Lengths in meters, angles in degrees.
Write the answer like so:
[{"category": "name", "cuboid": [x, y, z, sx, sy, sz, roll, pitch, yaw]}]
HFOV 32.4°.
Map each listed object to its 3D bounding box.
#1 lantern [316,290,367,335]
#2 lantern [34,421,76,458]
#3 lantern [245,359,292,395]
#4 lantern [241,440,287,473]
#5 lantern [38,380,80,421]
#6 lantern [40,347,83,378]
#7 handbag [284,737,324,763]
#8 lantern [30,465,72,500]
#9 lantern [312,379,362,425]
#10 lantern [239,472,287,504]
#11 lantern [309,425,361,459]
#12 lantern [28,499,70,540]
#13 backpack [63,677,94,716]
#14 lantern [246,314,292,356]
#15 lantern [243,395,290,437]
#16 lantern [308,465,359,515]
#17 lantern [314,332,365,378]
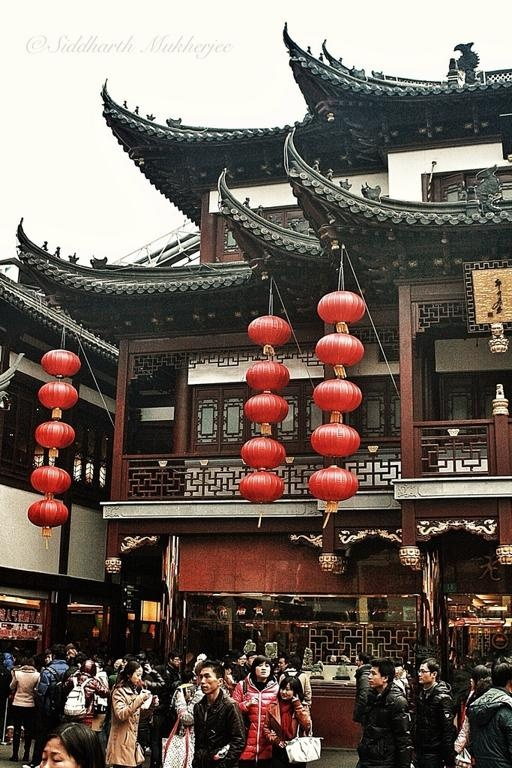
[{"category": "lantern", "cuboid": [1.007, -0.846, 10.378, 0.504, 0.471, 0.466, -12, -18, 32]}, {"category": "lantern", "cuboid": [-2.714, 0.682, 11.960, 0.473, 0.469, 0.479, -19, -26, 34]}, {"category": "lantern", "cuboid": [0.142, -0.125, 10.872, 0.452, 0.326, 0.418, -13, -22, 32]}, {"category": "lantern", "cuboid": [0.083, 0.856, 10.441, 0.405, 0.286, 0.430, 20, -30, -38]}, {"category": "lantern", "cuboid": [-2.753, 0.226, 12.062, 0.573, 0.563, 0.540, 7, -19, -18]}, {"category": "lantern", "cuboid": [-2.660, -0.287, 12.134, 0.435, 0.427, 0.452, 14, -22, -39]}, {"category": "handbag", "cuboid": [0.328, 2.609, 6.264, 0.249, 0.202, 0.329, 0, -16, 1]}, {"category": "lantern", "cuboid": [-2.777, 1.343, 11.928, 0.480, 0.443, 0.422, -7, -17, 25]}, {"category": "lantern", "cuboid": [0.883, 0.197, 9.964, 0.496, 0.493, 0.508, -15, -22, 42]}, {"category": "lantern", "cuboid": [0.058, 1.233, 10.450, 0.444, 0.293, 0.388, 0, -16, -5]}, {"category": "lantern", "cuboid": [0.897, 0.668, 9.861, 0.434, 0.410, 0.406, -19, -29, 39]}, {"category": "lantern", "cuboid": [-2.797, 1.809, 11.843, 0.626, 0.611, 0.590, 4, -22, -10]}, {"category": "backpack", "cuboid": [-1.551, 2.781, 7.756, 0.227, 0.334, 0.346, -1, -23, 2]}, {"category": "lantern", "cuboid": [0.193, -0.590, 11.069, 0.534, 0.529, 0.524, 5, -16, -16]}, {"category": "lantern", "cuboid": [0.145, 0.344, 10.884, 0.526, 0.506, 0.505, 12, -23, -32]}, {"category": "lantern", "cuboid": [0.849, 1.138, 9.877, 0.465, 0.518, 0.488, 12, -20, -37]}, {"category": "lantern", "cuboid": [0.936, -0.334, 10.166, 0.535, 0.493, 0.489, -6, -12, 19]}]
